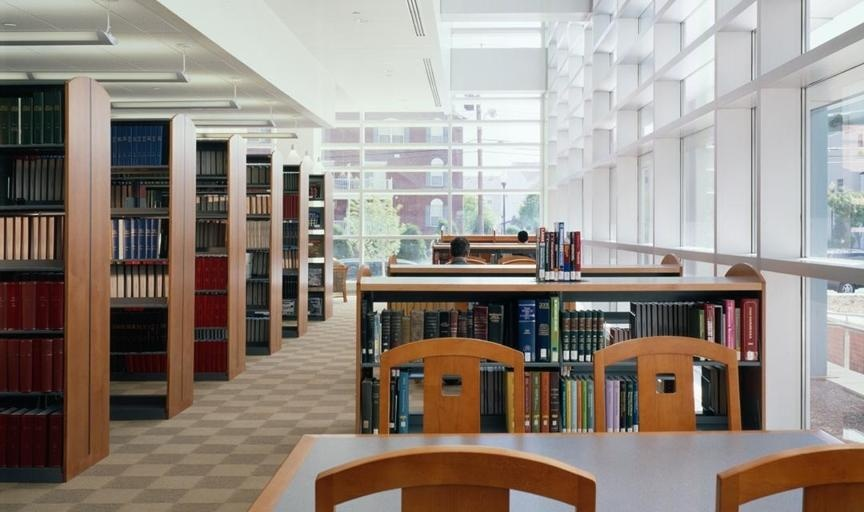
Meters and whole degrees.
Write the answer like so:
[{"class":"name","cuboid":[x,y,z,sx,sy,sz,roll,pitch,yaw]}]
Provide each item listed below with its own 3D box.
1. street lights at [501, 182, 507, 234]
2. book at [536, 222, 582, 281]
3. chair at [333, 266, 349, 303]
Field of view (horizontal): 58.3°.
[{"class":"street lights","cuboid":[1.439,-1.002,15.699,0.095,0.989,0.081,0,1,1]},{"class":"book","cuboid":[1.125,-0.039,7.199,0.520,0.682,0.486,0,-4,-4]},{"class":"chair","cuboid":[-1.751,0.499,14.805,0.280,0.739,0.558,0,1,-8]}]
